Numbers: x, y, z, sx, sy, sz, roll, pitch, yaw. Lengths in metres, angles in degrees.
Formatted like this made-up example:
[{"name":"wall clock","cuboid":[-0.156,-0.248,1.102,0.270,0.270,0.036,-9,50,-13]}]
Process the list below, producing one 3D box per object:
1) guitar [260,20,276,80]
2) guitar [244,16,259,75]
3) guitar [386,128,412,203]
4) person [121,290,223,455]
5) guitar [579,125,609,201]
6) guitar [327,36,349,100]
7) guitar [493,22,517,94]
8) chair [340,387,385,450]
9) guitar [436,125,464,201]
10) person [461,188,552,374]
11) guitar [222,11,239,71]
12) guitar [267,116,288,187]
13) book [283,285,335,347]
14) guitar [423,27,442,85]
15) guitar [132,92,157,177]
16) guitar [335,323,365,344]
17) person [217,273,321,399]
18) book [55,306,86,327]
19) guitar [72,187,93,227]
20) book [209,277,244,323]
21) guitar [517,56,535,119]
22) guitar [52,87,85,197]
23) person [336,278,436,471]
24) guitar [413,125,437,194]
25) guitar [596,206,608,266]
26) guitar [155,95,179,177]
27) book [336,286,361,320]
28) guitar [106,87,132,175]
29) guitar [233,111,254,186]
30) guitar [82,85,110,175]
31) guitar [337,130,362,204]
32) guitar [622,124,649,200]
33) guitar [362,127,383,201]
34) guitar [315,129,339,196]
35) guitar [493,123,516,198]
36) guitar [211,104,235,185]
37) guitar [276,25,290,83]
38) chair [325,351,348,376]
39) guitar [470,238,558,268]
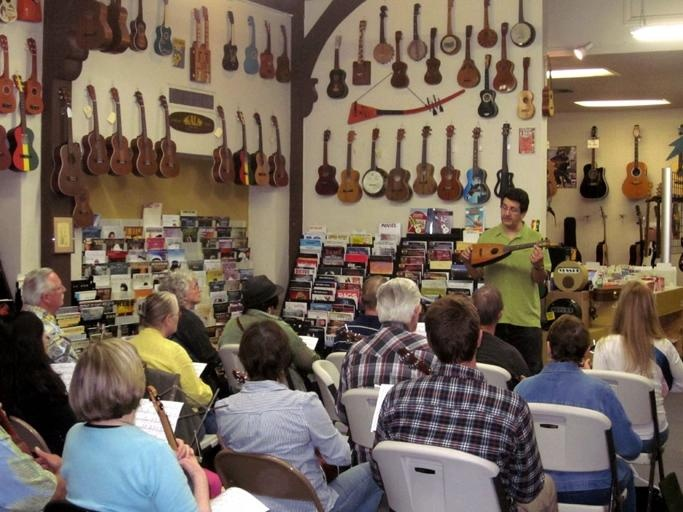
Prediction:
[{"name":"guitar","cuboid":[-0.876,-2.506,6.905,0.082,0.692,0.229,1,1,40]},{"name":"guitar","cuboid":[-1.059,-2.508,6.762,0.056,0.680,0.207,1,1,41]},{"name":"guitar","cuboid":[0.693,-1.102,6.818,0.326,0.900,0.113,1,1,5]},{"name":"person","cuboid":[-1.052,0.683,3.598,0.552,0.983,0.519,2,17,-1]},{"name":"guitar","cuboid":[4.932,-1.869,11.158,0.537,1.042,0.675,1,1,25]},{"name":"guitar","cuboid":[-0.039,-2.364,7.096,0.271,0.777,0.094,1,1,11]},{"name":"guitar","cuboid":[1.836,-2.233,6.398,0.254,0.759,0.107,1,1,14]},{"name":"chair","cuboid":[0.164,0.799,2.982,0.242,0.331,0.282,1,13,9]},{"name":"guitar","cuboid":[1.260,-1.090,6.605,0.288,0.885,0.109,1,1,10]},{"name":"person","cuboid":[1.429,0.438,4.918,0.637,1.909,0.572,6,16,33]},{"name":"guitar","cuboid":[-1.267,-2.474,6.552,0.191,0.666,0.108,0,1,-25]},{"name":"guitar","cuboid":[-0.778,-1.311,7.021,0.103,0.863,0.278,1,1,39]},{"name":"book","cuboid":[-0.432,0.700,6.735,0.442,0.713,0.225,-1,-5,26]},{"name":"guitar","cuboid":[1.070,-2.355,6.668,0.201,0.662,0.087,1,1,7]},{"name":"guitar","cuboid":[-1.969,-1.253,5.746,0.267,0.857,0.217,0,1,-37]},{"name":"guitar","cuboid":[0.044,0.500,3.648,0.123,0.067,0.169,-1,1,-38]},{"name":"person","cuboid":[-0.570,0.680,4.427,0.744,1.133,0.547,-2,20,8]},{"name":"book","cuboid":[-2.382,0.527,5.001,0.151,0.141,0.147,-1,-3,-44]},{"name":"guitar","cuboid":[-2.352,-0.457,5.226,0.063,0.350,0.188,1,1,29]},{"name":"book","cuboid":[-1.287,0.487,6.329,0.080,0.649,0.530,2,6,44]},{"name":"guitar","cuboid":[2.052,-1.872,6.343,0.185,0.696,0.081,1,1,12]},{"name":"guitar","cuboid":[-2.433,-1.029,5.096,0.091,0.947,0.259,1,1,37]},{"name":"person","cuboid":[0.211,0.617,3.192,0.469,1.166,0.325,7,37,-6]},{"name":"guitar","cuboid":[0.988,-1.131,6.726,0.271,0.832,0.105,1,1,7]},{"name":"guitar","cuboid":[5.091,-0.439,11.178,0.205,0.843,0.524,1,1,25]},{"name":"guitar","cuboid":[-1.800,-1.272,5.950,0.254,0.863,0.216,0,1,-34]},{"name":"book","cuboid":[0.063,0.528,6.577,0.327,0.336,0.082,14,1,18]},{"name":"guitar","cuboid":[-2.158,-1.233,5.547,0.190,0.858,0.279,1,1,39]},{"name":"guitar","cuboid":[-1.136,-1.287,6.652,0.094,0.853,0.282,1,1,40]},{"name":"guitar","cuboid":[-2.296,-1.203,5.339,0.212,0.857,0.256,1,1,43]},{"name":"guitar","cuboid":[0.107,-1.111,7.062,0.303,0.920,0.097,1,1,26]},{"name":"guitar","cuboid":[5.739,-1.826,11.069,0.566,1.128,0.372,1,1,10]},{"name":"guitar","cuboid":[0.396,-1.151,6.928,0.292,0.846,0.105,1,1,10]},{"name":"guitar","cuboid":[-0.178,-1.181,7.173,0.286,0.838,0.132,1,1,0]},{"name":"guitar","cuboid":[1.828,-1.062,6.402,0.239,0.809,0.031,6,10,41]},{"name":"guitar","cuboid":[-1.320,-1.295,6.464,0.248,0.860,0.129,0,1,-42]},{"name":"guitar","cuboid":[-0.713,-2.517,7.066,0.078,0.691,0.204,1,1,32]},{"name":"chair","cuboid":[-0.028,0.689,3.749,0.151,0.183,0.143,4,-4,21]},{"name":"guitar","cuboid":[1.433,-0.034,4.798,0.700,0.288,0.099,-5,-19,24]}]
